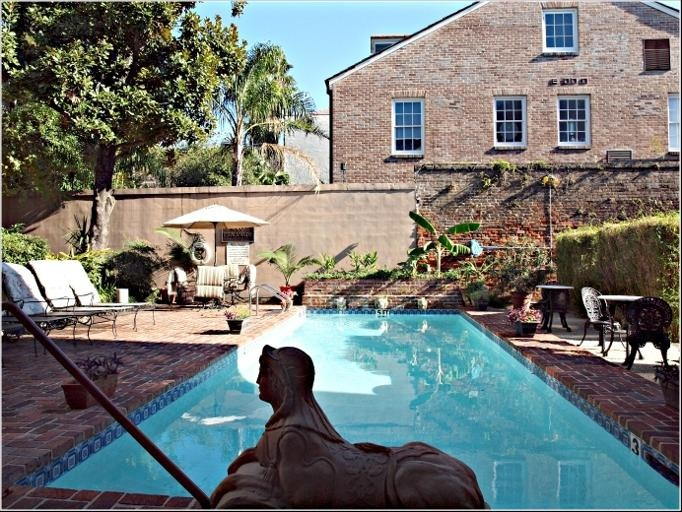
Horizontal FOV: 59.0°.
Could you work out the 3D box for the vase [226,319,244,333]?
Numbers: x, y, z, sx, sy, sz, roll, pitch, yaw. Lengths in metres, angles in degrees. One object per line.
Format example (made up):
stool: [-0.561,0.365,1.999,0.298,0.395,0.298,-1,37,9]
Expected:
vase: [-2.055,1.364,11.791,0.262,0.222,0.261,0,-7,0]

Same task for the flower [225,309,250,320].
flower: [-2.023,1.127,11.793,0.258,0.163,0.277,-4,0,2]

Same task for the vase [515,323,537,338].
vase: [3.496,1.348,11.234,0.344,0.302,0.449,-1,2,10]

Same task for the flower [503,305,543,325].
flower: [3.546,1.163,11.537,0.694,0.353,0.735,0,-3,-4]

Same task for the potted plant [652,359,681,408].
potted plant: [4.084,1.581,7.473,0.232,0.509,0.487,0,2,26]

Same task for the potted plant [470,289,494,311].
potted plant: [3.855,1.208,16.227,0.551,0.641,0.497,0,-3,0]

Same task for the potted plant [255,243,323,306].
potted plant: [-1.605,0.555,17.402,1.555,1.525,1.660,0,-4,-2]
